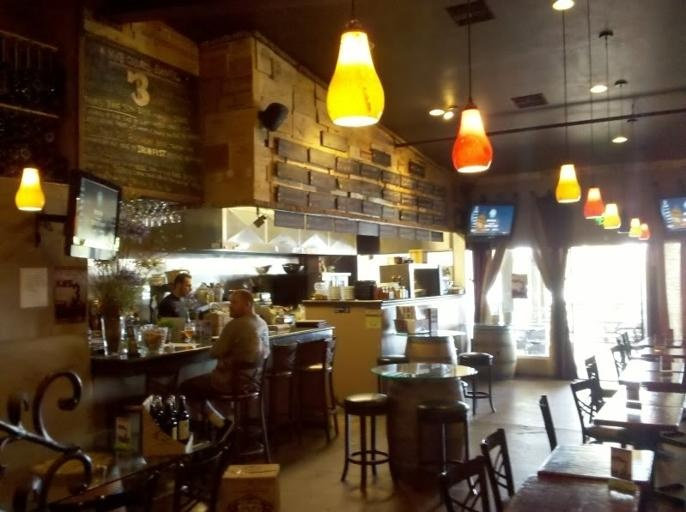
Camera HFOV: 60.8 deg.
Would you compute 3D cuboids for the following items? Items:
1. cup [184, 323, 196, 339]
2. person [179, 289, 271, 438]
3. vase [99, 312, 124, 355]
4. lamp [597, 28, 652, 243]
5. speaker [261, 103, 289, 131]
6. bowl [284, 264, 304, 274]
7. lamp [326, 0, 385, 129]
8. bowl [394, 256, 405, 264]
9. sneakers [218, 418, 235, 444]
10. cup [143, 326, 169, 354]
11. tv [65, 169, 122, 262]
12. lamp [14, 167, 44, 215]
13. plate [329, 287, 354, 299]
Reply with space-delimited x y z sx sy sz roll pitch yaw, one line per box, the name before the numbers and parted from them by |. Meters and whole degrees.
cup | -1.662 0.811 6.329 0.129 0.206 0.128 0 -2 0
person | -1.158 0.968 5.929 0.786 1.230 0.413 0 -4 -10
vase | -2.167 0.731 5.499 0.211 0.352 0.337 1 -4 -22
lamp | 3.872 -1.357 8.108 0.458 1.990 4.199 -3 -5 28
speaker | -0.804 -1.603 6.704 0.305 0.300 0.234 3 -5 -37
bowl | -0.884 0.214 10.404 0.331 0.201 0.455 0 -4 -2
lamp | 0.073 -1.123 3.508 0.321 0.649 0.260 -1 -4 2
bowl | 0.926 0.066 9.576 0.166 0.121 0.322 -1 -4 6
sneakers | -0.651 0.978 3.308 0.072 0.180 0.064 12 -8 -34
cup | -1.783 0.818 5.646 0.218 0.187 0.220 2 -6 0
tv | -2.175 -0.336 5.075 0.131 0.886 0.826 9 7 9
lamp | -2.547 -0.547 4.777 0.216 0.344 0.320 2 -5 -28
plate | -0.012 0.543 8.663 0.327 0.148 0.180 1 -1 13
